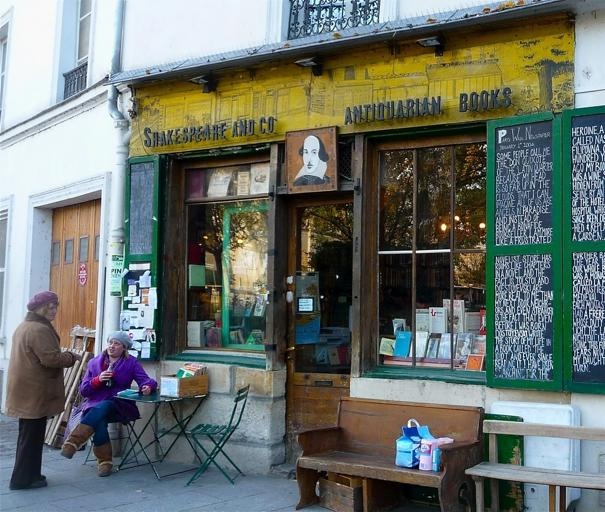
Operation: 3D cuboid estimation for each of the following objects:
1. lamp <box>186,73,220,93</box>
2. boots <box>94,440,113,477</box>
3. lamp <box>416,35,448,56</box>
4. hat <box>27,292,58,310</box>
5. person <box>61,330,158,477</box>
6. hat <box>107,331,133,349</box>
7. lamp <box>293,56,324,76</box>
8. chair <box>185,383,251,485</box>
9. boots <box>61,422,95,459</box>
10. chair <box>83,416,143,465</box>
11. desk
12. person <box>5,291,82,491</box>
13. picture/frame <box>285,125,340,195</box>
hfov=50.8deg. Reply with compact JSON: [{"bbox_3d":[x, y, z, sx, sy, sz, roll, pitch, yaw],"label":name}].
[{"bbox_3d":[-1.154,-2.022,7.451,0.321,0.191,0.132,1,-4,-12],"label":"lamp"},{"bbox_3d":[-2.111,2.182,6.824,0.142,0.339,0.457,-5,-4,-16],"label":"boots"},{"bbox_3d":[1.265,-2.072,6.248,0.169,0.167,0.206,4,11,35],"label":"lamp"},{"bbox_3d":[-2.705,0.492,6.574,0.218,0.092,0.197,-17,-2,24],"label":"hat"},{"bbox_3d":[-2.096,1.556,6.950,0.775,1.551,0.925,-8,-17,19],"label":"person"},{"bbox_3d":[-2.010,0.914,7.115,0.184,0.134,0.225,3,-16,7],"label":"hat"},{"bbox_3d":[0.056,-1.985,6.858,0.186,0.247,0.228,0,-5,43],"label":"lamp"},{"bbox_3d":[-0.900,1.879,6.837,0.581,1.073,0.612,-1,-8,-8],"label":"chair"},{"bbox_3d":[-2.349,1.913,6.833,0.167,0.396,0.524,23,1,-6],"label":"boots"},{"bbox_3d":[-2.234,2.128,7.607,0.625,0.756,0.578,0,-10,-12],"label":"chair"},{"bbox_3d":[-1.591,2.052,7.494,0.912,1.004,0.946,10,-13,-43],"label":"desk"},{"bbox_3d":[-2.651,1.337,6.446,0.609,1.950,0.404,2,-4,-28],"label":"person"},{"bbox_3d":[0.119,-1.039,6.818,0.613,0.775,0.118,-2,-3,35],"label":"picture/frame"}]
